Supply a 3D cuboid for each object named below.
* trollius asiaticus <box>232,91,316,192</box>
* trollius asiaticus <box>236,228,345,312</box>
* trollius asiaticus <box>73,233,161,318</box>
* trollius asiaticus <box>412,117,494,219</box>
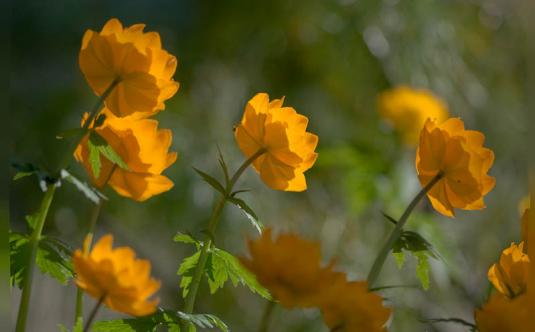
[{"bbox_3d":[0.015,-0.046,0.632,0.099,0.051,0.091,45,-43,15],"label":"trollius asiaticus"},{"bbox_3d":[0.021,0.107,0.561,0.080,0.038,0.084,28,-13,48],"label":"trollius asiaticus"},{"bbox_3d":[-0.147,0.120,0.571,0.078,0.039,0.072,41,5,-47],"label":"trollius asiaticus"},{"bbox_3d":[0.214,0.011,0.653,0.087,0.050,0.103,41,-55,13],"label":"trollius asiaticus"}]
